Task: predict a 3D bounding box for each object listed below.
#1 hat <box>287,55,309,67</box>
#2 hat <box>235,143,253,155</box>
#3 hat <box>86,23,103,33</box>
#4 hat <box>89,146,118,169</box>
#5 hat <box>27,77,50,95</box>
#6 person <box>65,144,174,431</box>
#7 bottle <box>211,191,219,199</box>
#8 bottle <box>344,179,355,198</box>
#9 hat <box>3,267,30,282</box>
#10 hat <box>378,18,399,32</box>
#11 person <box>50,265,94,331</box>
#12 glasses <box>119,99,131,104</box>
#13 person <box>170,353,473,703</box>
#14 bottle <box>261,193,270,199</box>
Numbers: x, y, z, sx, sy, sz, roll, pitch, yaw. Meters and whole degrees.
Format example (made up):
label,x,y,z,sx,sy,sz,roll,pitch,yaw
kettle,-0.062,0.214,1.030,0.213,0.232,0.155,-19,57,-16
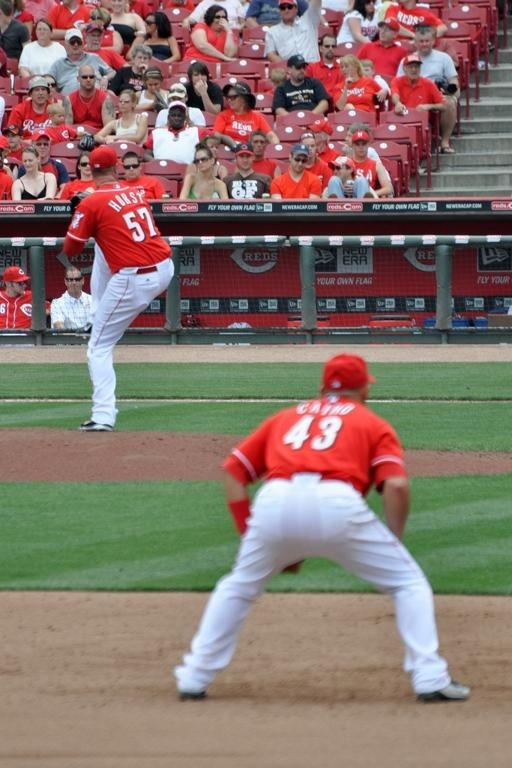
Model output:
label,x,y,z,sx,sy,sz,roll,pitch,yaw
hat,0.513,-3.882,15.390,0.193,0.146,0.262,-4,4,-18
hat,-0.125,-2.542,13.911,0.154,0.103,0.222,0,2,1
hat,-2.176,-4.760,17.250,0.267,0.116,0.390,0,13,-7
hat,-0.941,-1.383,7.865,0.161,0.151,0.267,-4,6,-8
hat,-2.688,-3.667,15.888,0.227,0.146,0.289,1,15,-9
person,-0.838,-0.582,7.953,0.635,1.761,0.398,-5,8,-15
bottle,-0.435,-2.044,13.940,0.112,0.076,0.064,-8,9,-41
bottle,1.017,-2.113,13.976,0.105,0.192,0.145,-3,7,5
hat,-2.592,-1.171,13.831,0.275,0.182,0.342,-4,6,-10
hat,1.718,-4.640,16.584,0.188,0.155,0.308,9,4,38
person,-1.956,-0.876,13.823,0.548,0.699,0.387,-10,21,-20
glasses,-1.548,-3.283,15.053,0.063,0.045,0.183,-8,8,-36
person,0.254,0.550,4.922,1.309,1.447,0.734,4,3,18
bottle,0.104,-2.036,13.987,0.090,0.078,0.078,1,11,2
